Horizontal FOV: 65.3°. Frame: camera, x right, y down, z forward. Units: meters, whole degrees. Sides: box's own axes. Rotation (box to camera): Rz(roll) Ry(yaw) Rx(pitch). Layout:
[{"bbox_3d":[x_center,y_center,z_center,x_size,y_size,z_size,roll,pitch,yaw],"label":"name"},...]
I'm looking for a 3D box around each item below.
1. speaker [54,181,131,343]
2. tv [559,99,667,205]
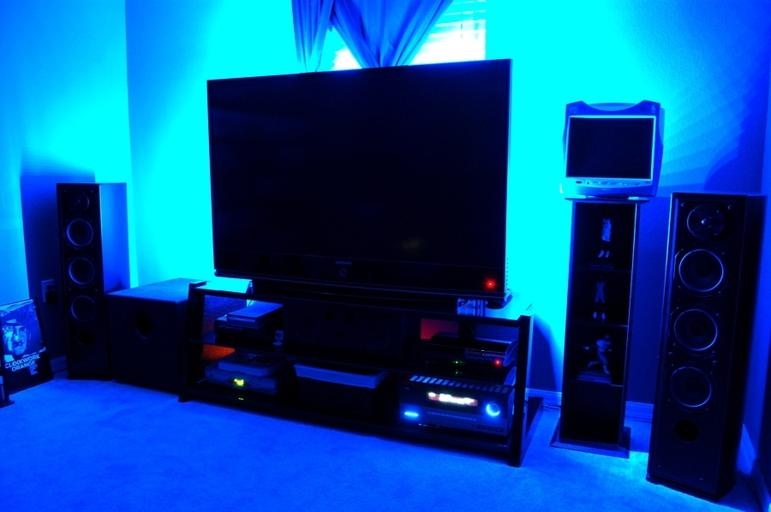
[{"bbox_3d":[-1.806,-0.017,3.746,0.402,0.878,0.215,-1,6,-28],"label":"speaker"},{"bbox_3d":[1.180,-0.537,3.109,0.540,0.531,0.292,4,10,18],"label":"tv"}]
